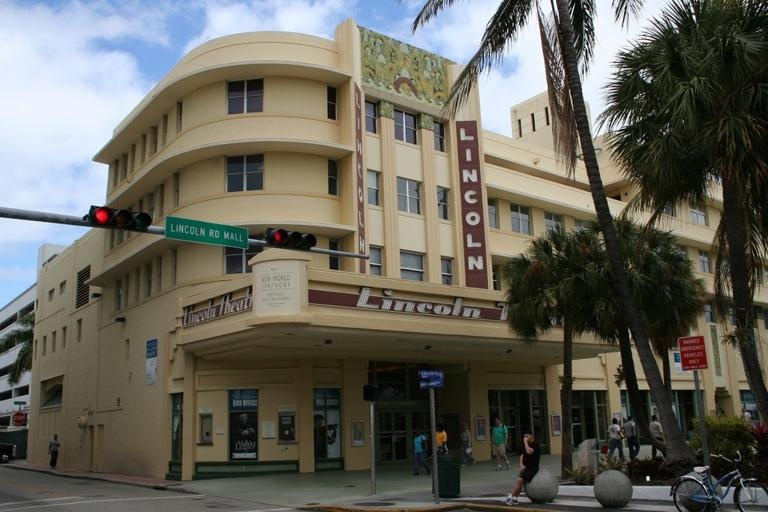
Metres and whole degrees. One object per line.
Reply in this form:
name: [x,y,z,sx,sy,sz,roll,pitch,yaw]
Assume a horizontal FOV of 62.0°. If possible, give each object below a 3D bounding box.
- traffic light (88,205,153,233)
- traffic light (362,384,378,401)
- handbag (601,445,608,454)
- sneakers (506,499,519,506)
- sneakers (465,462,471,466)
traffic light: [-7.247,-1.055,17.462,1.594,0.657,0.540,7,-22,-23]
traffic light: [-0.480,5.048,23.438,0.436,0.638,0.761,-3,-20,4]
handbag: [8.630,7.566,24.998,0.256,0.326,0.603,-8,-21,16]
sneakers: [3.948,7.518,19.476,0.472,0.208,0.158,13,-19,-29]
sneakers: [4.242,10.512,32.223,0.149,0.105,0.148,-2,-3,30]
